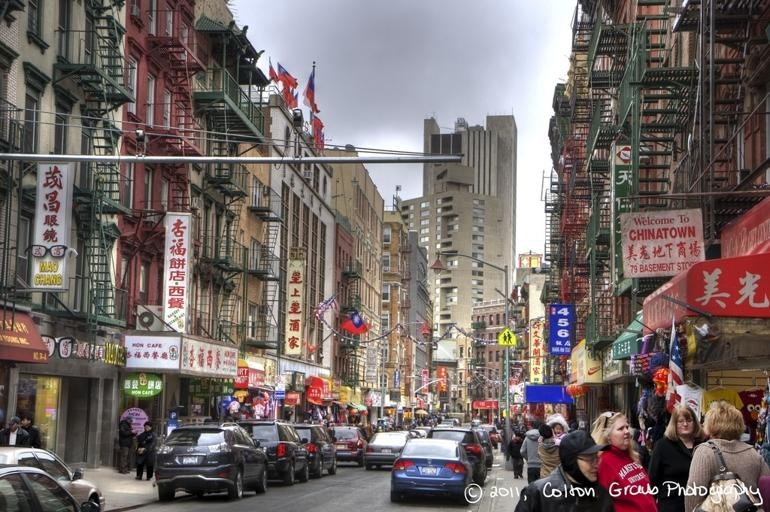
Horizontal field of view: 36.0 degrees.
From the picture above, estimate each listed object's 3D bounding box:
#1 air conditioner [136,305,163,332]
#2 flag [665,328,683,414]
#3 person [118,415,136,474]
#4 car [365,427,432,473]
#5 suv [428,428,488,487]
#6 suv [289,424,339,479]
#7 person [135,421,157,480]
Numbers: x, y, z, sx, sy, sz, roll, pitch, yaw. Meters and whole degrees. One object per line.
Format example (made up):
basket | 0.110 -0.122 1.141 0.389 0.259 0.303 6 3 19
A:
air conditioner | -9.462 2.512 47.342 1.211 1.310 0.930 1 -6 -9
flag | 6.771 2.513 27.788 0.446 2.057 0.626 -5 -13 14
person | -9.329 6.700 42.521 0.581 2.078 1.196 1 -13 -13
car | 0.234 8.437 51.314 1.590 1.379 3.985 -1 -4 10
suv | 2.956 7.554 42.862 2.329 2.144 4.260 -1 4 -3
suv | -2.600 7.582 46.308 1.845 1.902 3.437 0 -8 5
person | -8.246 6.607 40.716 0.637 1.952 1.289 1 -13 -12
